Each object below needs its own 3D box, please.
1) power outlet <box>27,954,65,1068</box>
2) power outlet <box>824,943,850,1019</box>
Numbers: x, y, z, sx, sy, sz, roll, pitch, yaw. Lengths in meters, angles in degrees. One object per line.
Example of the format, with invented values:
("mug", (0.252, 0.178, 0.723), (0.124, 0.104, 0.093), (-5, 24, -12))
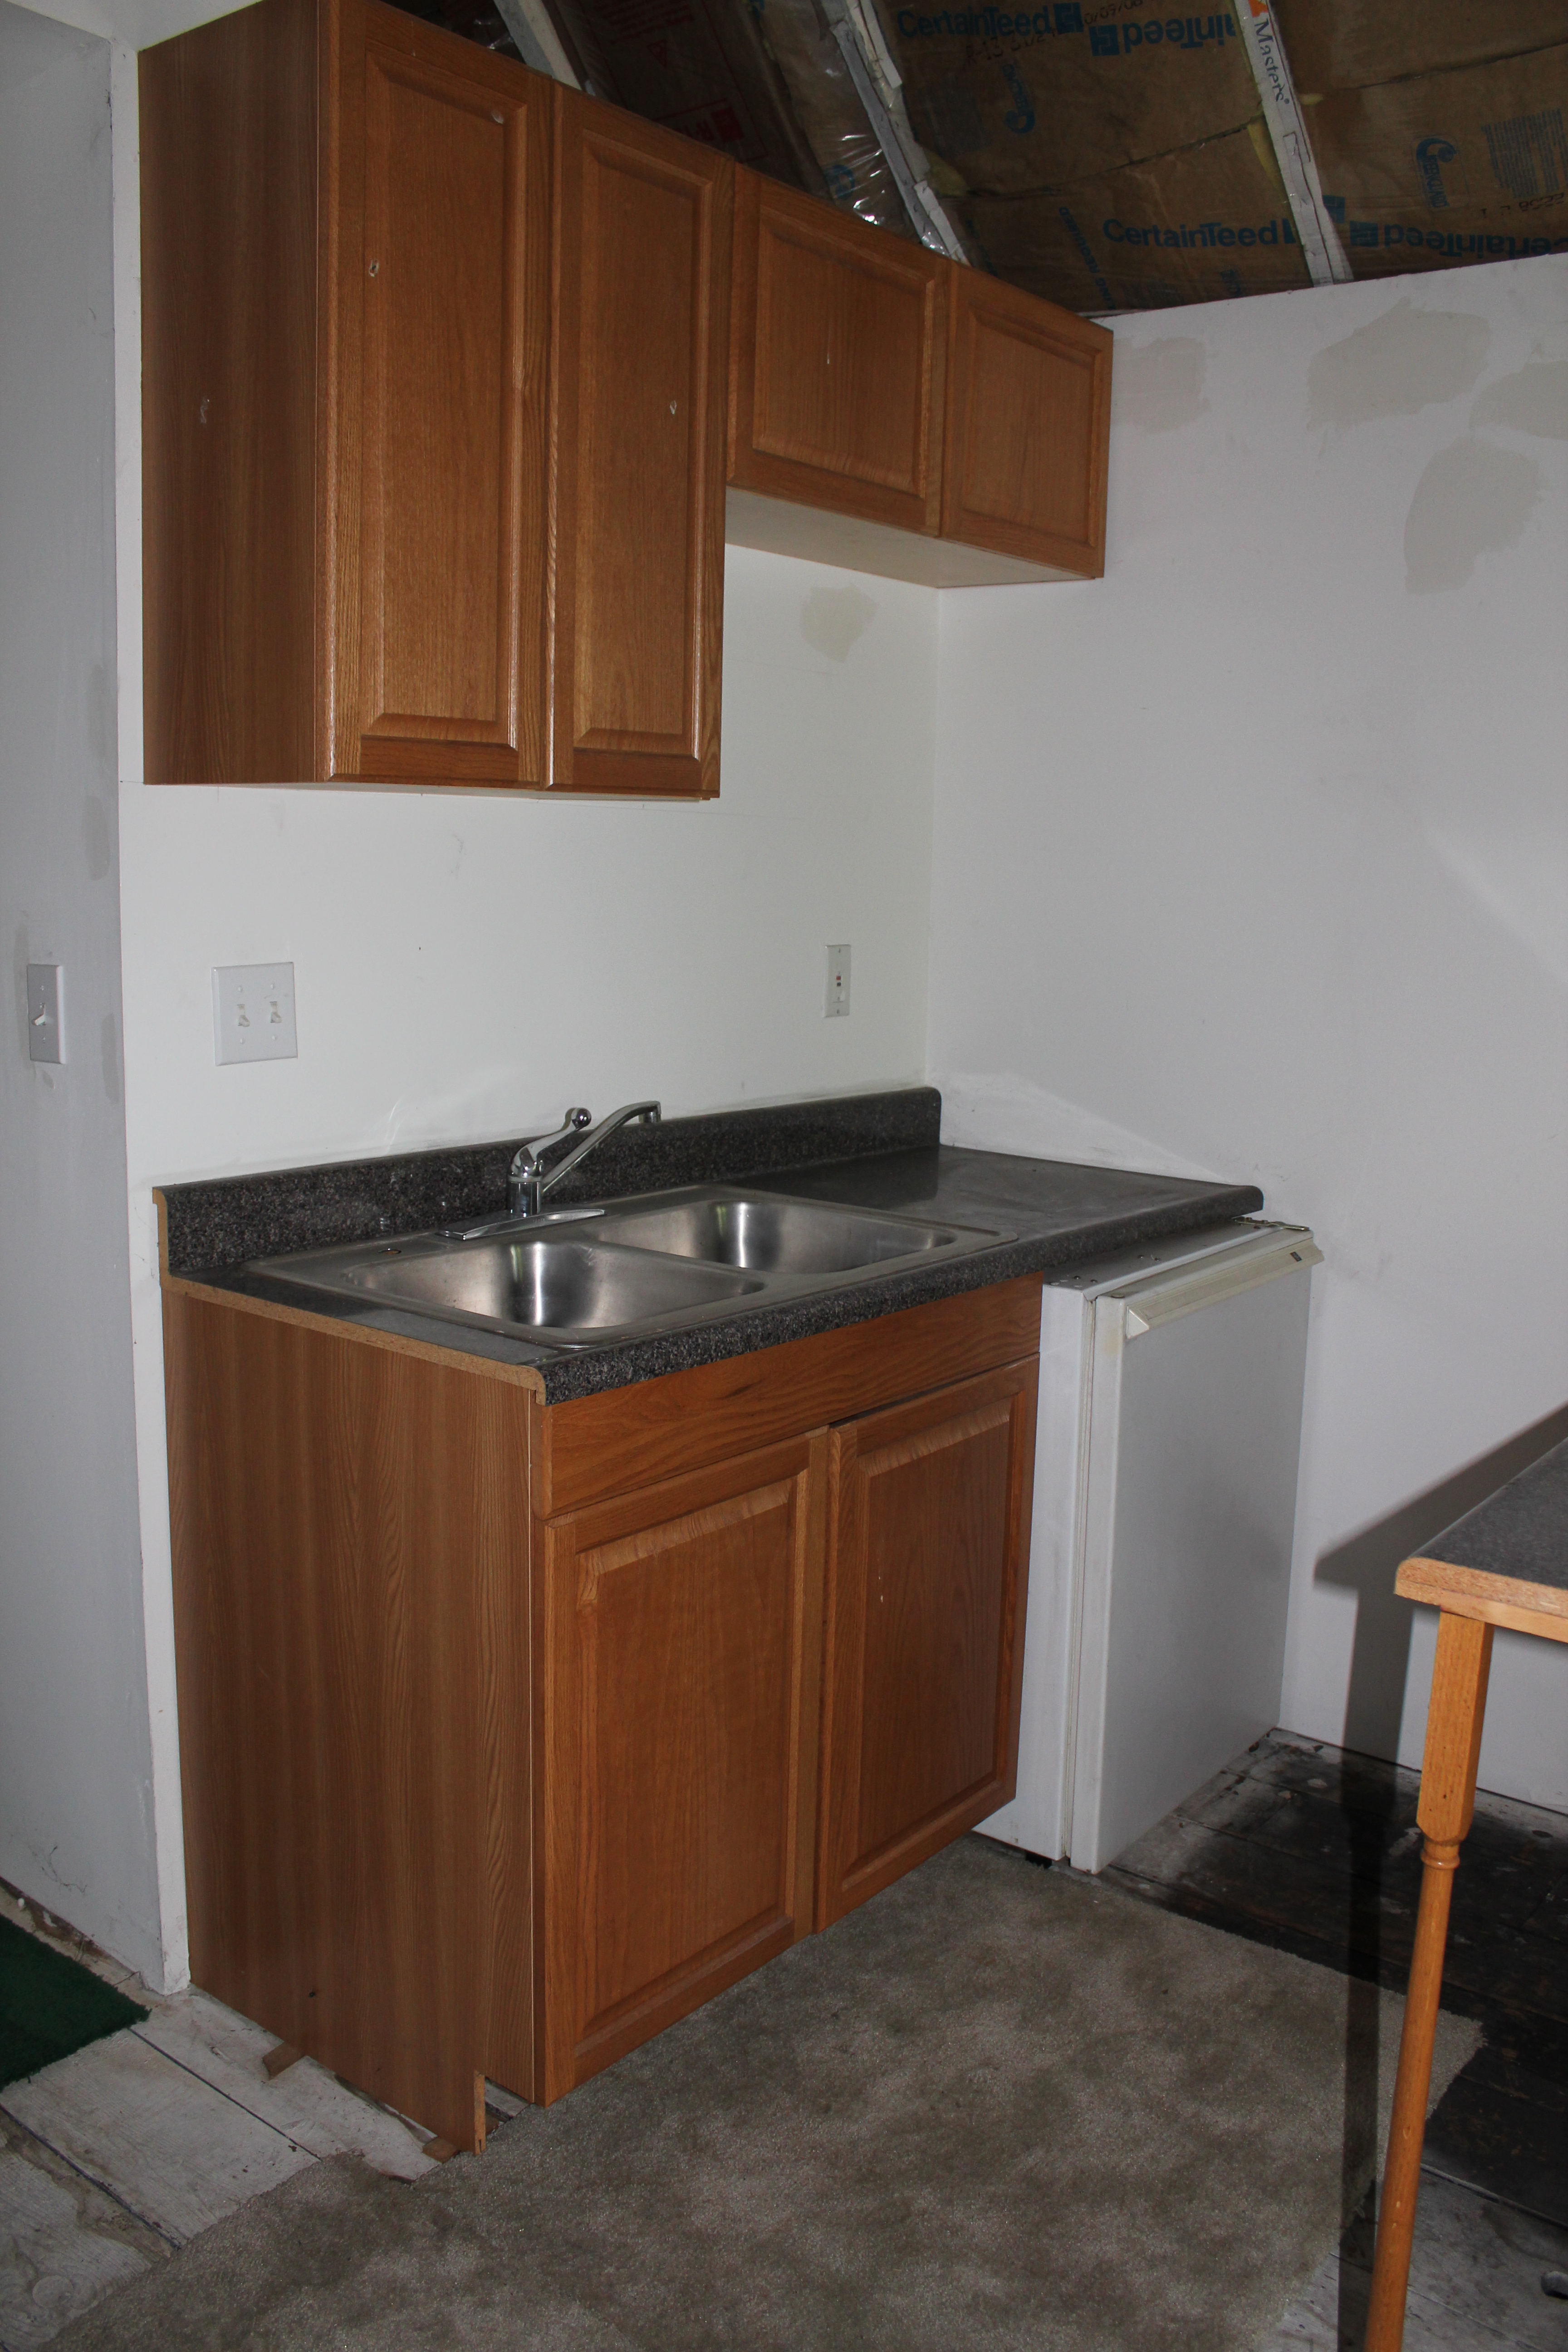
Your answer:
("power outlet", (-0.738, -0.160, 1.795), (0.009, 0.097, 0.071), (-3, 8, -45))
("power outlet", (0.078, -0.295, 2.704), (0.013, 0.132, 0.093), (6, 11, 26))
